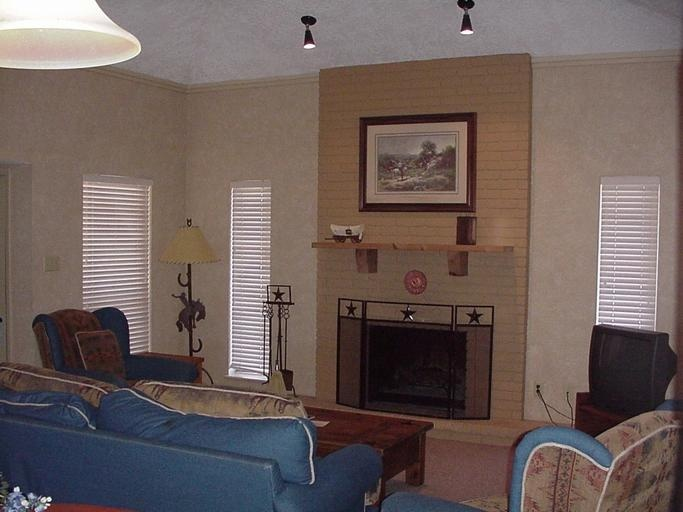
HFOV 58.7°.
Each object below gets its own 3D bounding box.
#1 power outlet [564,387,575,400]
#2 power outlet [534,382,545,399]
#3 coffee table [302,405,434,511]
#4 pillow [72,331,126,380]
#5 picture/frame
[{"bbox_3d":[2.074,1.245,5.489,0.085,0.126,0.015,1,-2,14],"label":"power outlet"},{"bbox_3d":[1.812,1.245,5.562,0.039,0.125,0.079,-7,-16,2],"label":"power outlet"},{"bbox_3d":[0.252,1.252,4.197,0.721,0.365,0.604,0,-2,34],"label":"coffee table"},{"bbox_3d":[-1.978,0.805,5.007,0.179,0.459,0.454,-30,-18,28],"label":"pillow"},{"bbox_3d":[0.766,-0.899,5.693,0.933,0.792,0.064,1,4,18],"label":"picture/frame"}]
